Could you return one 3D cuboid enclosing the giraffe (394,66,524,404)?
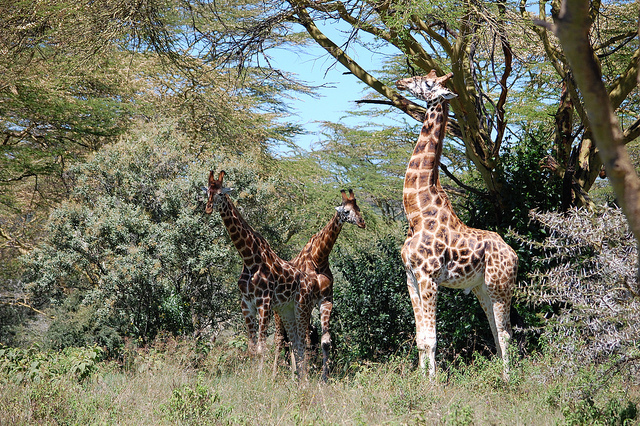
[{"bbox_3d":[2.650,0.557,16.977,3.116,6.392,1.481,23,-30,-29],"label":"giraffe"}]
